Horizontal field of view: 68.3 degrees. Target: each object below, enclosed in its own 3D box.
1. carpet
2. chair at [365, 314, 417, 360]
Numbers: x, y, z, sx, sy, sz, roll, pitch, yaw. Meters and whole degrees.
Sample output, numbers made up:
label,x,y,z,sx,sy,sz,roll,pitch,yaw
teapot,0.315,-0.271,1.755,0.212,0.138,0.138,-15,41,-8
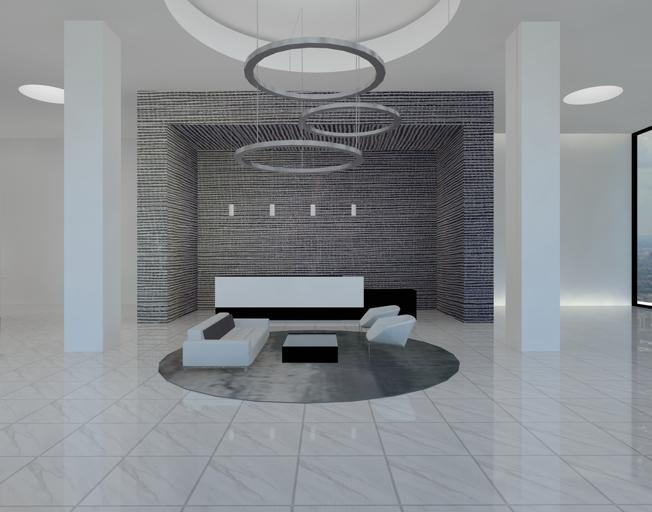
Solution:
label,x,y,z,sx,sy,sz,roll,pitch,yaw
carpet,-0.118,1.698,7.024,4.260,0.281,2.525,-4,11,-19
chair,1.096,1.334,8.196,0.810,0.448,0.704,0,-6,-3
